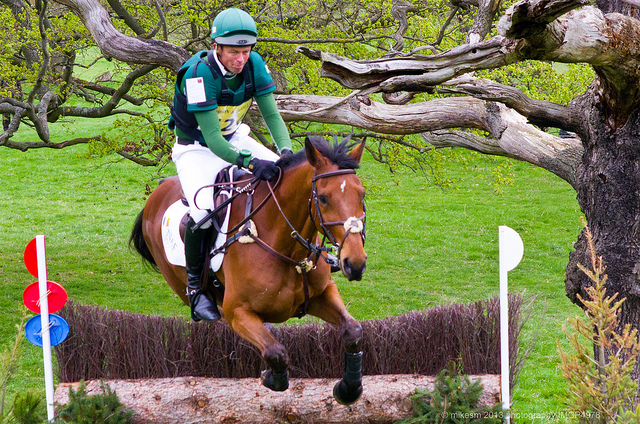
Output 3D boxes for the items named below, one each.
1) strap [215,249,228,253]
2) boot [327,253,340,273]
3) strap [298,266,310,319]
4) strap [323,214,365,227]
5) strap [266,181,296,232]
[{"bbox_3d":[-1.326,0.526,16.430,0.182,0.029,0.018,2,1,22],"label":"strap"},{"bbox_3d":[0.183,0.712,17.067,0.119,0.220,0.170,-32,-1,-24],"label":"boot"},{"bbox_3d":[-0.196,1.065,16.394,0.122,0.497,0.360,2,1,-1],"label":"strap"},{"bbox_3d":[0.327,0.108,15.580,0.536,0.050,0.070,-12,3,35],"label":"strap"},{"bbox_3d":[-0.485,-0.065,16.241,0.130,0.792,0.160,-30,-12,10],"label":"strap"}]
